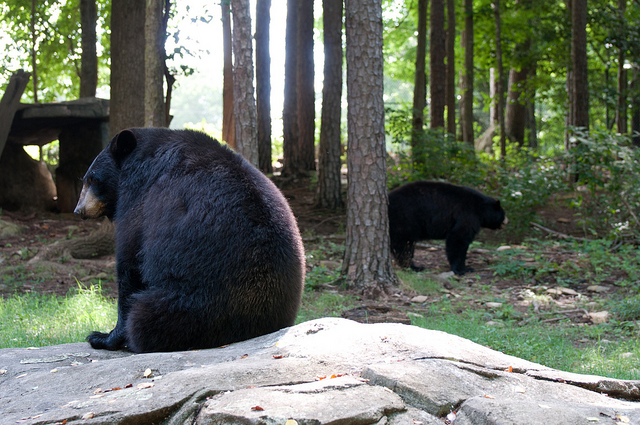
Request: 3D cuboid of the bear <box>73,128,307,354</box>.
[{"bbox_3d":[-2.338,0.471,13.245,4.268,3.817,2.998,6,5,11],"label":"bear"}]
